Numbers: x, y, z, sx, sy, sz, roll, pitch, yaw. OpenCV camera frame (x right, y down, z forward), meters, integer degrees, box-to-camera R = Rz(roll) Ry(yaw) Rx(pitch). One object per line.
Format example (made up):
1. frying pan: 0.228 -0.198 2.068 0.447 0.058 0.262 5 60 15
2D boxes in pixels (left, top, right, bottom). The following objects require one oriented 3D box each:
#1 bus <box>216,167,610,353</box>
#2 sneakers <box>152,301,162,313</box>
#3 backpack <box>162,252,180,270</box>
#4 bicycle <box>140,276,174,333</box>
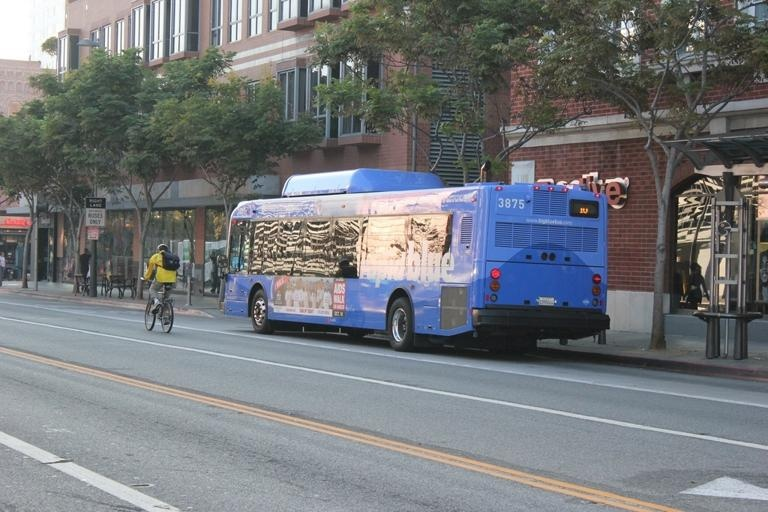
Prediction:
1. bus: 0.105 0.267 24.250 4.060 4.383 12.186 5 -4 -38
2. sneakers: -6.179 1.376 24.017 0.402 0.268 0.161 3 3 43
3. backpack: -5.737 0.140 24.040 0.444 0.529 0.545 -5 -7 26
4. bicycle: -6.130 1.482 24.534 0.784 0.984 1.601 5 -1 -30
